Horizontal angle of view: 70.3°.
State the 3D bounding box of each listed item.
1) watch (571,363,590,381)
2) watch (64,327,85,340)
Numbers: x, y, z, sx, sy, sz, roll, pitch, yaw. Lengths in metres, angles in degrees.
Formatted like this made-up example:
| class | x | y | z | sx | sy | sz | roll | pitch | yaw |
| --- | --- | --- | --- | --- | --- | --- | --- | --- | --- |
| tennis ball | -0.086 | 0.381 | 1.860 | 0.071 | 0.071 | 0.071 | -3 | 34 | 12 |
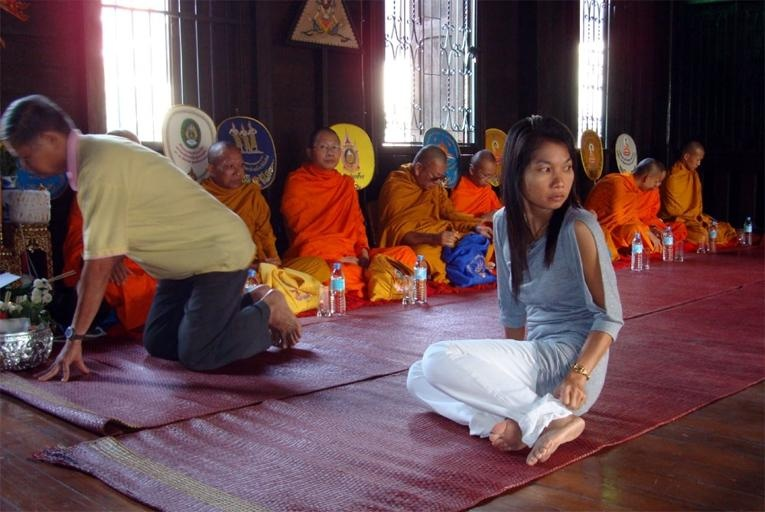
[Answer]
| class | x | y | z | sx | sy | sz | roll | pitch | yaw |
| --- | --- | --- | --- | --- | --- | --- | --- | --- | --- |
| watch | 0.706 | 0.412 | 1.926 | 0.031 | 0.042 | 0.046 | -29 | 15 | 3 |
| watch | -1.404 | 0.353 | 2.507 | 0.082 | 0.055 | 0.083 | 17 | -14 | -19 |
